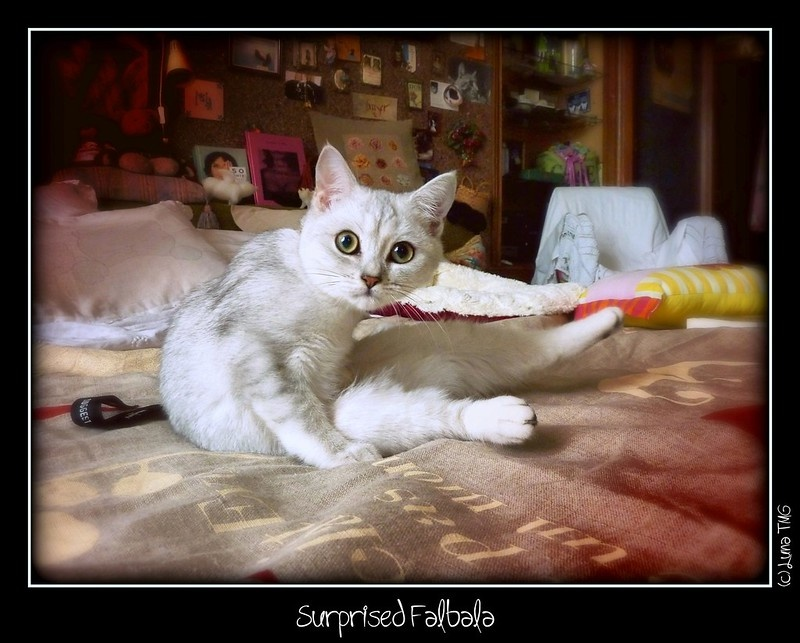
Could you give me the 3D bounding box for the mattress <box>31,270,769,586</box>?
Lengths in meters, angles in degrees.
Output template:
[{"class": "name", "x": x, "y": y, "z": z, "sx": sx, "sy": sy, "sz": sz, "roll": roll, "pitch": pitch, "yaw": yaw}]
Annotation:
[{"class": "mattress", "x": 0.573, "y": 0.410, "z": 2.336, "sx": 2.400, "sy": 0.026, "sz": 2.654, "roll": -16, "pitch": -15, "yaw": -21}]
